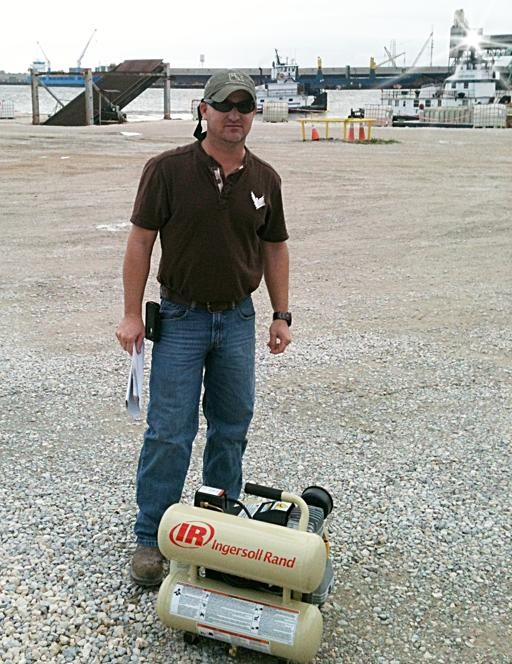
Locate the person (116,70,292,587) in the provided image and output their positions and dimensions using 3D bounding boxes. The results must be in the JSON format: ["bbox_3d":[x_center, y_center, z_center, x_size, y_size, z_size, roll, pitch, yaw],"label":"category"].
[{"bbox_3d":[-0.204,-0.029,2.676,0.359,1.901,0.896,12,20,44],"label":"person"}]

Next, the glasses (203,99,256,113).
[{"bbox_3d":[-0.089,-0.811,2.430,0.157,0.053,0.061,-4,14,-9],"label":"glasses"}]

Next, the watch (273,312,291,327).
[{"bbox_3d":[0.115,-0.055,2.971,0.065,0.062,0.063,6,-3,8],"label":"watch"}]

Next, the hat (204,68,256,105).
[{"bbox_3d":[-0.100,-0.906,2.491,0.194,0.137,0.232,-2,13,-2],"label":"hat"}]
